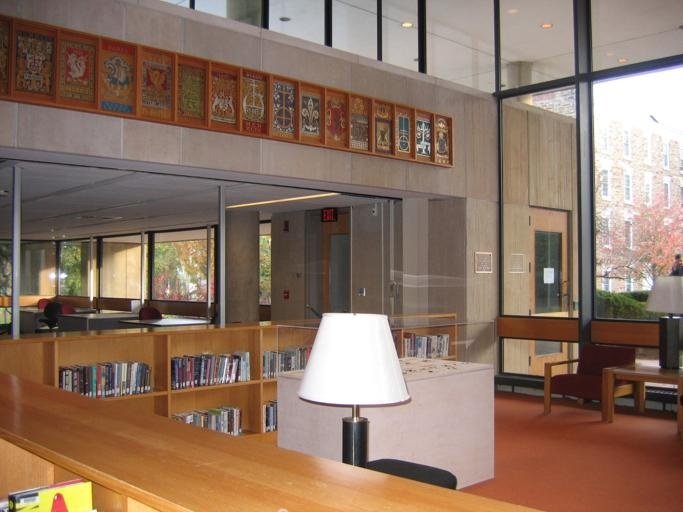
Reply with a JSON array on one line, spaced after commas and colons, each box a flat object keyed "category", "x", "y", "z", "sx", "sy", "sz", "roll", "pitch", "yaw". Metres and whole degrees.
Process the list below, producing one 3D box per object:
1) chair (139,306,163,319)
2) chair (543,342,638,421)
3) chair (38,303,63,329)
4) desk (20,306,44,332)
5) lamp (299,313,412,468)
[{"category": "chair", "x": -2.415, "y": 0.717, "z": 8.195, "sx": 0.176, "sy": 0.253, "sz": 0.217, "roll": 2, "pitch": -2, "yaw": -34}, {"category": "chair", "x": 3.305, "y": 1.635, "z": 8.511, "sx": 1.014, "sy": 0.970, "sz": 0.897, "roll": 6, "pitch": -6, "yaw": -44}, {"category": "chair", "x": -3.198, "y": 0.637, "z": 7.132, "sx": 0.221, "sy": 0.348, "sz": 0.207, "roll": -1, "pitch": -1, "yaw": 40}, {"category": "desk", "x": -3.224, "y": 0.652, "z": 6.721, "sx": 0.188, "sy": 0.242, "sz": 0.321, "roll": -1, "pitch": 2, "yaw": -33}, {"category": "lamp", "x": 0.078, "y": 0.808, "z": 3.550, "sx": 0.546, "sy": 1.075, "sz": 0.552, "roll": -9, "pitch": 16, "yaw": -37}]
